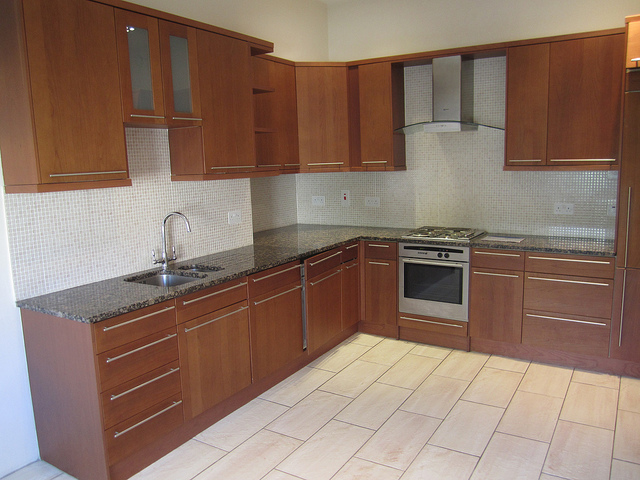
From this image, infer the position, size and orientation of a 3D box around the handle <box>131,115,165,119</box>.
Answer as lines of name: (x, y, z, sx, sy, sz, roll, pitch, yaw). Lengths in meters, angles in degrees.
handle: (-1.169, -0.835, 3.089, 0.038, 0.022, 0.217, 6, 16, 30)

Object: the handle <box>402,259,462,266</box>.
handle: (1.038, 0.207, 4.270, 0.548, 0.026, 0.023, 4, 16, 24)

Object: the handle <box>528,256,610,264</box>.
handle: (2.045, 0.159, 3.775, 0.589, 0.025, 0.009, 5, 17, 26)

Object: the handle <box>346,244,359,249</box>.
handle: (0.305, 0.056, 4.542, 0.030, 0.028, 0.288, 7, 7, 30)

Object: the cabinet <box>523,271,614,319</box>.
cabinet: (2.127, 0.483, 4.171, 0.592, 0.392, 0.836, 9, -12, 2)

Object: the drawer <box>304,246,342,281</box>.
drawer: (0.012, 0.189, 4.107, 0.259, 0.135, 0.359, 3, 12, 36)

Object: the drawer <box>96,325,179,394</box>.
drawer: (-1.230, 0.694, 2.896, 0.375, 0.221, 0.533, 12, 15, 33)

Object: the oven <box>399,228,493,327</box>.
oven: (1.187, 0.362, 4.564, 0.769, 0.898, 0.697, 1, 13, 15)

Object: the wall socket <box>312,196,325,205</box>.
wall socket: (-0.027, -0.474, 5.382, 0.153, 0.098, 0.010, 4, 16, 23)

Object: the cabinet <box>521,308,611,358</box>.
cabinet: (2.071, 0.770, 3.859, 0.561, 0.261, 0.373, 2, 1, 30)

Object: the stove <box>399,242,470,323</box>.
stove: (1.209, 0.400, 4.505, 0.775, 0.792, 0.625, 2, 3, 31)

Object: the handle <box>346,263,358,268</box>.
handle: (0.315, 0.244, 4.507, 0.006, 0.020, 0.116, -27, -12, 40)

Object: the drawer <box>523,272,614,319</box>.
drawer: (2.056, 0.447, 3.814, 0.534, 0.248, 0.376, 2, 2, 32)

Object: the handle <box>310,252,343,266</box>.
handle: (0.034, 0.159, 4.128, 0.046, 0.046, 0.336, 24, 29, 36)

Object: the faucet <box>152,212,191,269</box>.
faucet: (-1.173, -0.005, 3.538, 0.293, 0.428, 0.342, -8, 16, -20)
